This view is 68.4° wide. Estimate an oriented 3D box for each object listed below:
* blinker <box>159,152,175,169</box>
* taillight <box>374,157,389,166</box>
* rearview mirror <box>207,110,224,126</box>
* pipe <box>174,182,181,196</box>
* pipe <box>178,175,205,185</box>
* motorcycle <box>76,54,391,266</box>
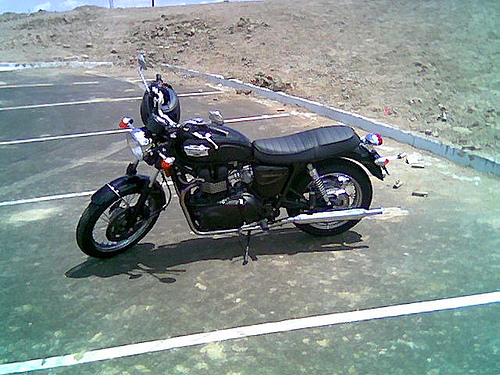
[{"bbox_3d":[-0.903,-0.282,3.976,0.145,0.109,0.223,0,3,-32],"label":"blinker"},{"bbox_3d":[1.587,-0.325,4.454,0.113,0.050,0.132,-5,4,-16],"label":"taillight"},{"bbox_3d":[-0.382,-0.762,4.047,0.115,0.147,0.136,-13,29,-13],"label":"rearview mirror"},{"bbox_3d":[-0.820,0.016,4.145,0.026,0.134,0.141,-17,29,-14],"label":"pipe"},{"bbox_3d":[-0.672,-0.072,4.132,0.248,0.033,0.119,8,-20,-5],"label":"pipe"},{"bbox_3d":[-0.215,-0.185,4.511,3.905,1.412,1.168,-4,16,-17],"label":"motorcycle"}]
